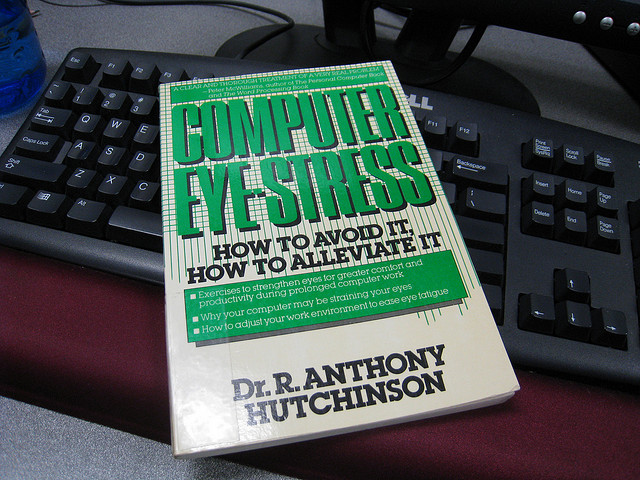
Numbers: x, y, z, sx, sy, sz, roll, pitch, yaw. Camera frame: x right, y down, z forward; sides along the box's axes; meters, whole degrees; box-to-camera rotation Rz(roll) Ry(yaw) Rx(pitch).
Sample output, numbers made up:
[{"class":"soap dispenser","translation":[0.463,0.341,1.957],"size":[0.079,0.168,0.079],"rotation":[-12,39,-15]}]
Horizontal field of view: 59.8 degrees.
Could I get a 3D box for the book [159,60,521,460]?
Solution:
[{"class":"book","translation":[-0.006,-0.010,0.477],"size":[0.263,0.048,0.332],"rotation":[-7,63,-10]}]
